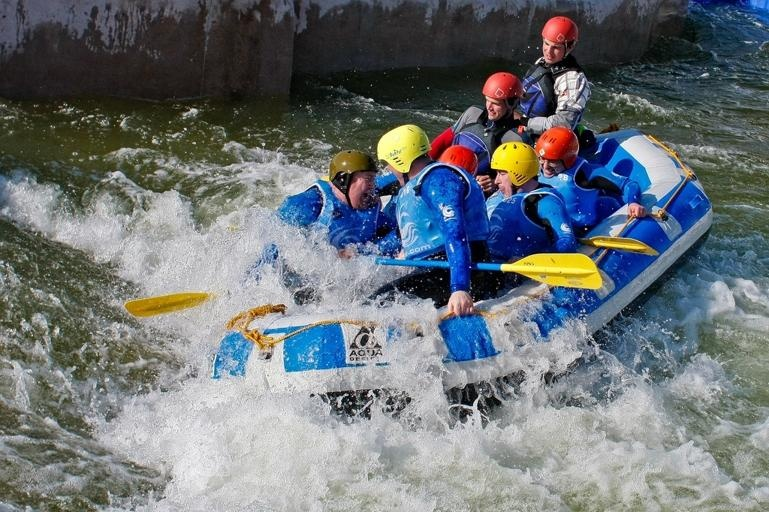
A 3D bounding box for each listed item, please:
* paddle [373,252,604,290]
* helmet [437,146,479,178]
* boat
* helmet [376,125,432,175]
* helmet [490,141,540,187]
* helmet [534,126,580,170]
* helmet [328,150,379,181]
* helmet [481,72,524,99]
[{"bbox_3d":[1.010,0.158,9.447,2.362,0.099,0.401,4,68,1],"label":"paddle"},{"bbox_3d":[0.760,-1.002,9.820,0.293,0.362,0.357,24,10,24],"label":"helmet"},{"bbox_3d":[1.288,0.258,9.710,4.244,1.169,2.590,-39,33,-13],"label":"boat"},{"bbox_3d":[0.201,-1.098,9.774,0.549,0.429,0.400,-28,3,20],"label":"helmet"},{"bbox_3d":[1.329,-0.939,9.761,0.491,0.393,0.365,1,5,7],"label":"helmet"},{"bbox_3d":[1.844,-1.161,10.149,0.330,0.458,0.373,21,63,41],"label":"helmet"},{"bbox_3d":[-0.309,-0.915,9.676,0.385,0.295,0.293,-22,4,18],"label":"helmet"},{"bbox_3d":[1.306,-1.846,10.566,0.371,0.293,0.275,-21,27,4],"label":"helmet"}]
